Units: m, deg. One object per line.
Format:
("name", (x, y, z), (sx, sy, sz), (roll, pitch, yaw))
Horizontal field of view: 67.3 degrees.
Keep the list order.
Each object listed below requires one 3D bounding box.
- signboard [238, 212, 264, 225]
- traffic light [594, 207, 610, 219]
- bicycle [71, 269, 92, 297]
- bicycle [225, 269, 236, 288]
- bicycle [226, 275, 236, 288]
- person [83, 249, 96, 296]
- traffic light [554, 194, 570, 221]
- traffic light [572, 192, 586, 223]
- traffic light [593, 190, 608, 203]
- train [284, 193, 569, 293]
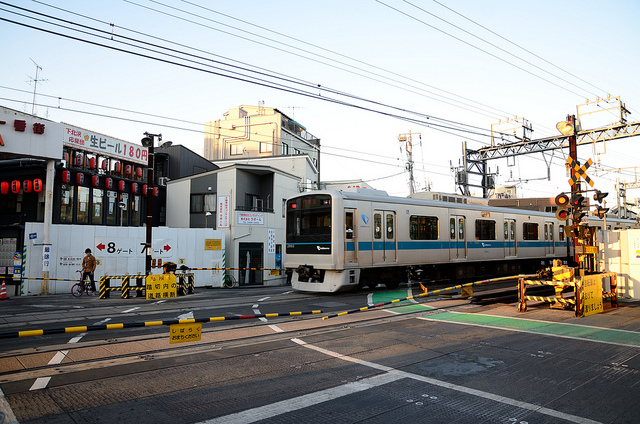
("signboard", (-4.480, 0.440, 30.933), (1.973, 0.848, 0.099), (-4, 5, -42))
("traffic light", (11.872, 0.075, 20.389), (0.491, 0.253, 0.541), (-3, -8, 43))
("bicycle", (-10.873, 3.442, 21.900), (0.786, 0.717, 0.858), (-3, 4, -28))
("bicycle", (-5.497, 3.998, 29.226), (0.642, 0.920, 0.736), (-1, 4, -12))
("bicycle", (-5.460, 4.146, 29.246), (0.549, 0.617, 0.740), (-1, 4, -8))
("person", (-10.488, 2.733, 21.755), (0.494, 2.115, 0.667), (-3, 5, -27))
("traffic light", (8.164, -0.154, 16.205), (0.412, 0.859, 0.489), (2, 4, 26))
("traffic light", (8.936, -0.154, 16.685), (0.359, 0.985, 2.635), (2, 4, 28))
("traffic light", (10.141, -0.528, 17.422), (0.329, 0.422, 0.673), (3, 5, 42))
("train", (7.032, 1.038, 25.762), (19.734, 4.417, 3.409), (-3, 5, -38))
